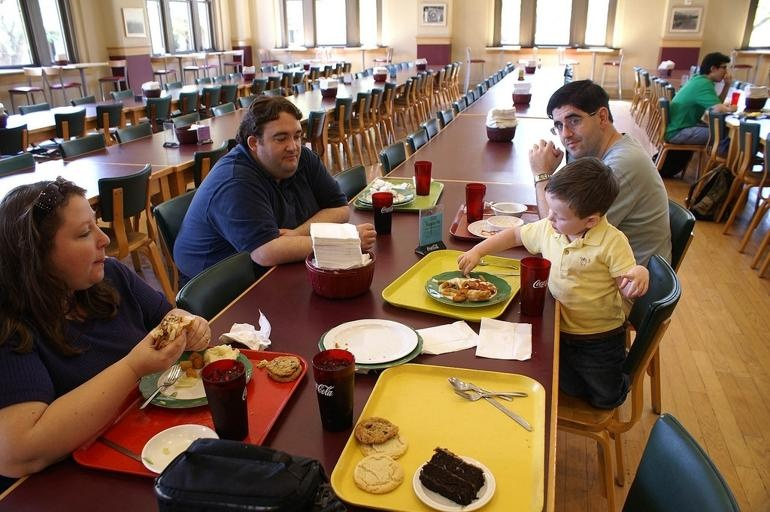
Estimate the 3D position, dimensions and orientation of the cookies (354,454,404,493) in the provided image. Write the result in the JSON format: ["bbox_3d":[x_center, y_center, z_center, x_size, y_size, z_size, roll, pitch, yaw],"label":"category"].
[{"bbox_3d":[-0.016,0.526,1.219,0.111,0.046,0.086,-11,23,-25],"label":"cookies"}]

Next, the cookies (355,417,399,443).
[{"bbox_3d":[-0.021,0.442,1.294,0.071,0.012,0.058,3,25,4],"label":"cookies"}]

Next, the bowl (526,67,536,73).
[{"bbox_3d":[2.666,-3.423,9.315,0.129,0.067,0.126,-3,16,1],"label":"bowl"}]

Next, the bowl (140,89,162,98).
[{"bbox_3d":[-2.804,-1.963,6.164,0.130,0.088,0.149,0,6,2],"label":"bowl"}]

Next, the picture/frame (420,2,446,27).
[{"bbox_3d":[1.243,-6.147,12.812,0.612,0.531,0.050,4,36,10],"label":"picture/frame"}]

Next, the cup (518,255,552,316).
[{"bbox_3d":[0.515,0.102,1.753,0.089,0.201,0.106,4,22,15],"label":"cup"}]

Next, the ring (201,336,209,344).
[{"bbox_3d":[-0.564,0.265,1.600,0.017,0.023,0.021,9,0,12],"label":"ring"}]

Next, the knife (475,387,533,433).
[{"bbox_3d":[0.329,0.410,1.374,0.050,0.009,0.169,-10,20,-24],"label":"knife"}]

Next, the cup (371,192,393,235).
[{"bbox_3d":[-0.008,-0.212,2.389,0.084,0.200,0.130,-1,21,2],"label":"cup"}]

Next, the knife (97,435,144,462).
[{"bbox_3d":[-0.677,0.496,1.294,0.113,0.006,0.015,19,36,27],"label":"knife"}]

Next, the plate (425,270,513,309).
[{"bbox_3d":[0.306,0.115,1.866,0.309,0.060,0.231,0,21,5],"label":"plate"}]

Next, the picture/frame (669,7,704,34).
[{"bbox_3d":[6.503,-5.097,10.881,0.610,0.630,0.061,5,35,16],"label":"picture/frame"}]

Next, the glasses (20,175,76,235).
[{"bbox_3d":[-0.941,-0.138,1.439,0.137,0.069,0.105,-31,25,31],"label":"glasses"}]

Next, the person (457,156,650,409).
[{"bbox_3d":[0.682,0.093,1.919,0.548,0.892,0.261,10,24,28],"label":"person"}]

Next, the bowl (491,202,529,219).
[{"bbox_3d":[0.628,-0.238,2.557,0.111,0.043,0.113,-1,24,0],"label":"bowl"}]

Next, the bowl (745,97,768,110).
[{"bbox_3d":[3.981,-1.648,5.433,0.127,0.209,0.130,-5,38,4],"label":"bowl"}]

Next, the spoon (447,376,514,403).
[{"bbox_3d":[0.264,0.389,1.446,0.196,0.035,0.063,6,32,1],"label":"spoon"}]

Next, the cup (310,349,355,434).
[{"bbox_3d":[-0.134,0.362,1.335,0.131,0.206,0.132,-2,26,1],"label":"cup"}]

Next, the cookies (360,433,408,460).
[{"bbox_3d":[0.004,0.485,1.276,0.061,0.018,0.060,-6,19,-17],"label":"cookies"}]

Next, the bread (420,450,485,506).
[{"bbox_3d":[0.162,0.519,1.192,0.114,0.046,0.090,17,35,29],"label":"bread"}]

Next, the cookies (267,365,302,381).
[{"bbox_3d":[-0.289,0.346,1.485,0.098,0.034,0.040,-6,21,-13],"label":"cookies"}]

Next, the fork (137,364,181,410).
[{"bbox_3d":[-0.635,0.364,1.458,0.032,0.029,0.195,1,32,13],"label":"fork"}]

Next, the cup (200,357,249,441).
[{"bbox_3d":[-0.413,0.370,1.330,0.104,0.189,0.148,-9,22,-18],"label":"cup"}]
